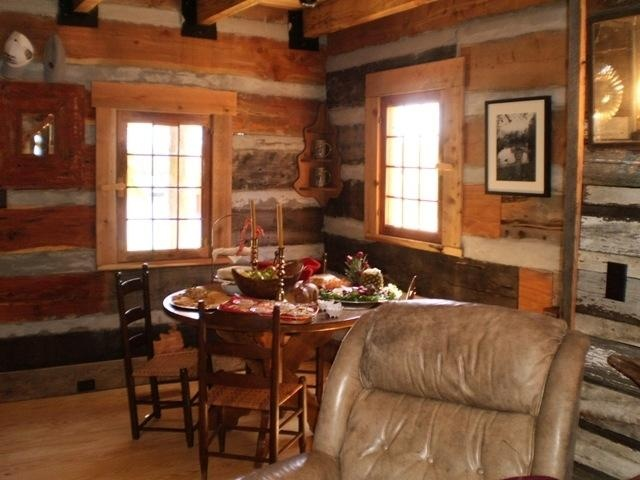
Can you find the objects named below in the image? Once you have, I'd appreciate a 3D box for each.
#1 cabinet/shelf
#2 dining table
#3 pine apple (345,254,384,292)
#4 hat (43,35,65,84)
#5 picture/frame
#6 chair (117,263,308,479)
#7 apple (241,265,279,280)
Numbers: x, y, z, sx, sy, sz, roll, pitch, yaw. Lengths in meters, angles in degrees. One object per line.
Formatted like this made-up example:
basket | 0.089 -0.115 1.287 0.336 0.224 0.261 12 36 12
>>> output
cabinet/shelf | -0.033 -0.858 5.309 0.496 1.058 0.248 -2 12 -3
dining table | -0.268 0.658 3.417 1.228 0.690 1.181 0 -1 9
pine apple | 0.285 0.256 3.681 0.200 0.303 0.201 -16 4 -6
hat | -2.126 -1.440 4.148 0.176 0.362 0.089 -5 13 -19
picture/frame | 1.378 -0.648 3.640 0.086 0.664 0.546 -11 15 -38
chair | -0.717 0.901 3.443 1.316 0.939 0.531 5 12 36
apple | -0.376 0.227 3.448 0.136 0.051 0.140 0 1 37
